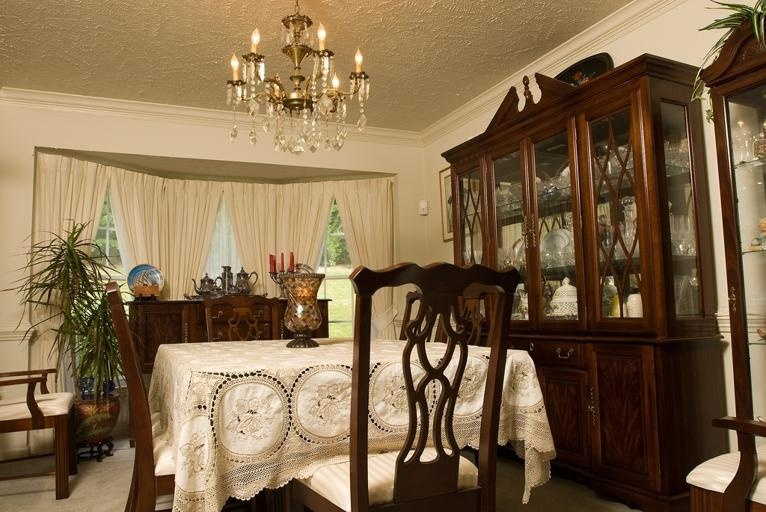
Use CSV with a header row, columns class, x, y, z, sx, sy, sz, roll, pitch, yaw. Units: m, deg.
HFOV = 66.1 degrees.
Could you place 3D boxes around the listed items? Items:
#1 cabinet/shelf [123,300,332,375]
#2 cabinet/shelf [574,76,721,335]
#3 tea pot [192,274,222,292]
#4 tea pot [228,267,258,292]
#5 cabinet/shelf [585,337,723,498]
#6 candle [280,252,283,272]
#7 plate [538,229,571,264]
class,x,y,z,sx,sy,sz,roll,pitch,yaw
cabinet/shelf,-1.469,0.774,5.784,1.808,0.994,0.549,-2,22,-26
cabinet/shelf,1.722,-0.281,3.925,0.731,1.618,0.503,-3,-1,-34
tea pot,-1.712,0.274,5.785,0.262,0.208,0.162,1,-3,9
tea pot,-1.443,0.266,5.983,0.259,0.273,0.327,-5,-4,6
cabinet/shelf,1.746,1.051,3.873,0.492,1.018,0.747,3,-8,-19
candle,-1.042,0.052,6.103,0.042,0.190,0.209,-3,-4,-10
plate,1.228,-0.060,4.141,0.088,0.227,0.181,-4,-1,-42
